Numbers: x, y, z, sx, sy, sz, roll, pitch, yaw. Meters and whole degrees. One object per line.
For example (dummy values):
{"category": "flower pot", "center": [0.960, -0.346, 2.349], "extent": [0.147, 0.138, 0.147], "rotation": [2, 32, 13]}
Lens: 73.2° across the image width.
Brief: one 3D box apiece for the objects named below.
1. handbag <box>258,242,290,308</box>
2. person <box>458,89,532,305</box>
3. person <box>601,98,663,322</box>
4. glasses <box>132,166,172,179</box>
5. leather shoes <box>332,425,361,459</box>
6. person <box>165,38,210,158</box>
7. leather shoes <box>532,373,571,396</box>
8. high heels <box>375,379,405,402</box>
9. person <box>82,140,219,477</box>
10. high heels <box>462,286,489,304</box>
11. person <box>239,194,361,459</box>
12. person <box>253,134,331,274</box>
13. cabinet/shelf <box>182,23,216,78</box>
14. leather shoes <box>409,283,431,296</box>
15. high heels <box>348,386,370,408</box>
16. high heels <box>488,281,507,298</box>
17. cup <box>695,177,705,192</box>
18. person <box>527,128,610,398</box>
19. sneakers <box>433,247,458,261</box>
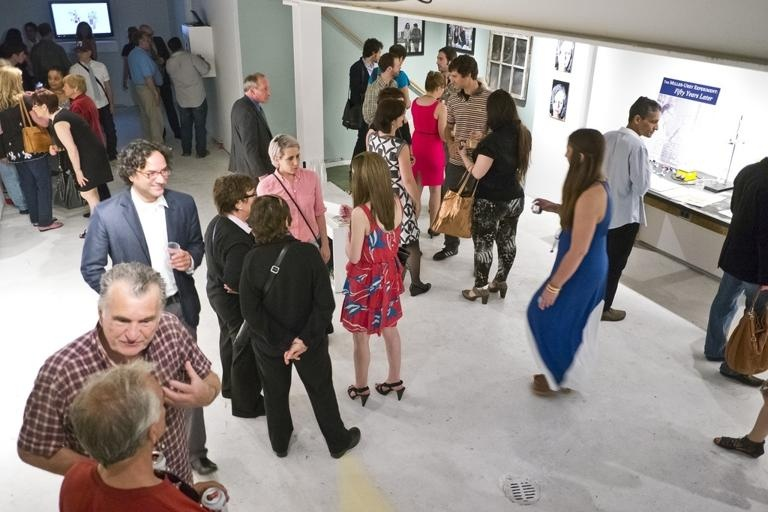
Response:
{"category": "handbag", "center": [-0.731, 0.103, 3.478], "extent": [0.079, 0.615, 0.068], "rotation": [25, 10, 2]}
{"category": "person", "center": [1.139, -0.548, 5.333], "extent": [0.586, 2.204, 0.341], "rotation": [5, 23, 6]}
{"category": "person", "center": [2.346, -0.401, 5.148], "extent": [0.544, 2.236, 0.472], "rotation": [12, 25, 22]}
{"category": "glasses", "center": [-1.630, -0.573, 3.634], "extent": [0.231, 0.086, 0.087], "rotation": [-12, 27, -30]}
{"category": "leather shoes", "center": [-0.270, 1.451, 4.052], "extent": [0.116, 0.217, 0.314], "rotation": [18, 44, 19]}
{"category": "person", "center": [-3.459, -2.794, 9.199], "extent": [0.692, 1.958, 0.701], "rotation": [-8, 25, -23]}
{"category": "leather shoes", "center": [1.462, 1.140, 4.547], "extent": [0.292, 0.140, 0.169], "rotation": [-1, 37, 7]}
{"category": "high heels", "center": [0.049, 1.137, 4.552], "extent": [0.271, 0.164, 0.128], "rotation": [16, 24, 17]}
{"category": "person", "center": [-1.723, 0.495, 3.860], "extent": [0.857, 2.617, 0.755], "rotation": [-7, 14, -36]}
{"category": "high heels", "center": [0.980, 0.406, 5.658], "extent": [0.270, 0.155, 0.146], "rotation": [24, 40, 33]}
{"category": "person", "center": [-0.625, 0.592, 3.714], "extent": [0.758, 2.019, 0.297], "rotation": [1, 23, -4]}
{"category": "person", "center": [-0.817, -0.143, 4.834], "extent": [0.584, 1.917, 0.503], "rotation": [-8, 35, -15]}
{"category": "cabinet/shelf", "center": [-3.276, -3.612, 9.134], "extent": [0.304, 0.807, 0.896], "rotation": [-9, 27, -20]}
{"category": "leather shoes", "center": [0.381, 0.376, 5.757], "extent": [0.276, 0.132, 0.097], "rotation": [-20, 27, -29]}
{"category": "high heels", "center": [-0.232, 1.176, 4.446], "extent": [0.106, 0.145, 0.218], "rotation": [-15, 39, -30]}
{"category": "high heels", "center": [1.237, 0.345, 5.754], "extent": [0.096, 0.157, 0.298], "rotation": [-9, 25, -19]}
{"category": "cup", "center": [3.921, -0.890, 6.423], "extent": [0.108, 0.103, 0.263], "rotation": [16, 27, 28]}
{"category": "person", "center": [1.494, 0.109, 4.149], "extent": [0.560, 2.149, 0.355], "rotation": [12, 25, 21]}
{"category": "sneakers", "center": [0.742, -0.041, 6.502], "extent": [0.342, 0.142, 0.123], "rotation": [-12, 27, -17]}
